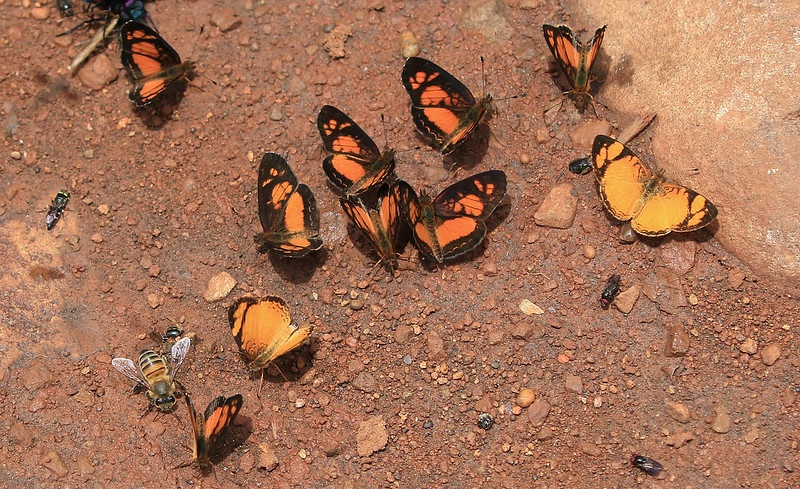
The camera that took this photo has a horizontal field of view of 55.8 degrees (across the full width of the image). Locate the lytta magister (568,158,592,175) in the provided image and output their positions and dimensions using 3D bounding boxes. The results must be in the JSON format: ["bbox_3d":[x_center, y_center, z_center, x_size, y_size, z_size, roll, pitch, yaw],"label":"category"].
[{"bbox_3d":[2.590,-1.136,10.899,0.328,0.059,0.253,-7,85,0],"label":"lytta magister"}]

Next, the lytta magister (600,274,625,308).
[{"bbox_3d":[2.979,0.653,10.685,0.262,0.179,0.478,31,90,21],"label":"lytta magister"}]

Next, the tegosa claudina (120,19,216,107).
[{"bbox_3d":[-3.249,-2.426,10.899,1.409,0.737,1.433,-3,104,-17],"label":"tegosa claudina"}]

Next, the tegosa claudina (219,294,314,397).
[{"bbox_3d":[-1.871,1.172,10.376,1.059,0.645,1.146,-22,94,5],"label":"tegosa claudina"}]

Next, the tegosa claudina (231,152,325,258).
[{"bbox_3d":[-1.664,-0.512,10.662,0.926,0.586,1.436,-11,85,0],"label":"tegosa claudina"}]

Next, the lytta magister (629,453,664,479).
[{"bbox_3d":[3.373,3.023,10.348,0.376,0.110,0.271,32,83,2],"label":"lytta magister"}]

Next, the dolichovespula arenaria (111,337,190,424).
[{"bbox_3d":[-3.460,1.828,10.484,1.012,0.860,1.126,3,90,-14],"label":"dolichovespula arenaria"}]

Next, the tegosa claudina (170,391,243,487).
[{"bbox_3d":[-2.659,2.521,10.287,0.603,0.605,1.219,22,86,3],"label":"tegosa claudina"}]
